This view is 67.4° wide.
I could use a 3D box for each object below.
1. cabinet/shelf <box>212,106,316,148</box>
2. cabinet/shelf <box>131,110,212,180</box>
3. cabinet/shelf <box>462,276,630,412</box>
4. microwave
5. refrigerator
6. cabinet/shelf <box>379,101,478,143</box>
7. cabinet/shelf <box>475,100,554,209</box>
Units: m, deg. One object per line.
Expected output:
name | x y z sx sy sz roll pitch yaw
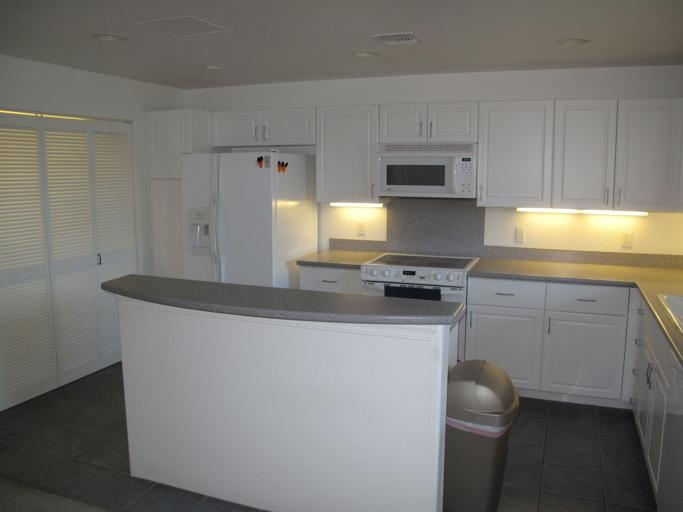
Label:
cabinet/shelf | -0.757 -1.273 5.170 1.006 0.366 0.281 -1 4 4
cabinet/shelf | -1.811 -1.206 5.195 0.286 0.495 0.455 22 29 28
cabinet/shelf | 1.670 0.692 4.037 1.066 0.787 0.411 1 2 20
microwave | 0.753 -0.739 4.564 0.841 0.415 0.194 1 15 6
refrigerator | -0.870 -0.359 4.881 1.288 1.270 0.719 -2 15 -5
cabinet/shelf | 0.790 -1.214 4.709 0.884 0.362 0.258 1 8 9
cabinet/shelf | 1.492 -0.884 4.423 0.606 0.888 0.220 1 15 6
